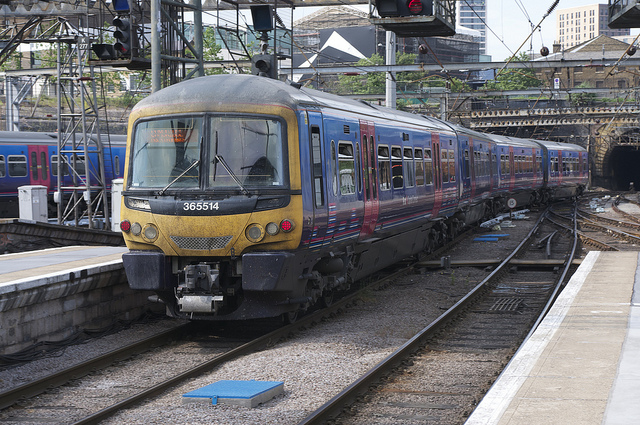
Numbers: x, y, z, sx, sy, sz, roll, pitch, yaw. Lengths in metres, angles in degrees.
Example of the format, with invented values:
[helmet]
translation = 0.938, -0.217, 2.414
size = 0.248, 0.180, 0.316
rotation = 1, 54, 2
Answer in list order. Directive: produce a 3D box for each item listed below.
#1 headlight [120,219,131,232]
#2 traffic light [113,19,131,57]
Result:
[headlight]
translation = -3.251, 0.230, 11.416
size = 0.210, 0.200, 0.209
rotation = 0, 0, 1
[traffic light]
translation = -4.952, -4.422, 17.069
size = 0.420, 0.933, 0.758
rotation = 0, 8, -17
